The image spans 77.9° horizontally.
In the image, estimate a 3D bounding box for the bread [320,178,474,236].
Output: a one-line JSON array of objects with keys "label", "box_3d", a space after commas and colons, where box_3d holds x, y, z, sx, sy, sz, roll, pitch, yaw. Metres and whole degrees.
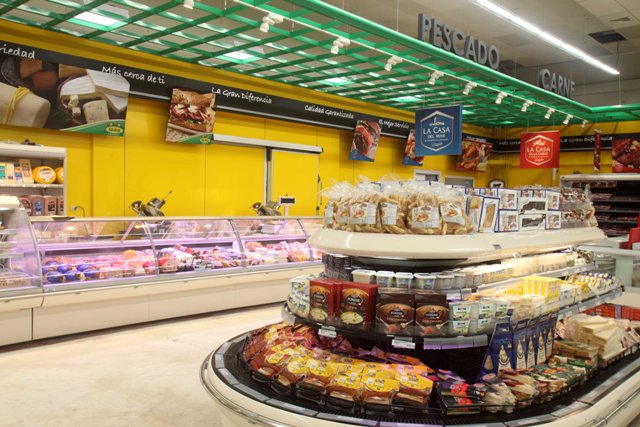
[{"label": "bread", "box_3d": [0.544, -0.047, 3.194, 0.770, 0.193, 0.709, 0, -1, 37]}]

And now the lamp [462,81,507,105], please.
[{"label": "lamp", "box_3d": [3.678, -2.772, 9.065, 0.765, 0.138, 0.782, 3, 0, 40]}]

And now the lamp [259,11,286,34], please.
[{"label": "lamp", "box_3d": [-0.758, -2.848, 5.911, 0.212, 0.196, 0.399, -2, 8, -33]}]
